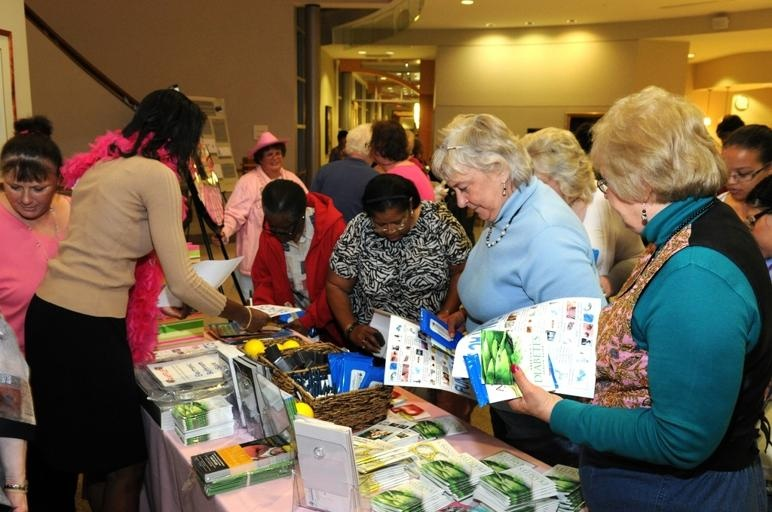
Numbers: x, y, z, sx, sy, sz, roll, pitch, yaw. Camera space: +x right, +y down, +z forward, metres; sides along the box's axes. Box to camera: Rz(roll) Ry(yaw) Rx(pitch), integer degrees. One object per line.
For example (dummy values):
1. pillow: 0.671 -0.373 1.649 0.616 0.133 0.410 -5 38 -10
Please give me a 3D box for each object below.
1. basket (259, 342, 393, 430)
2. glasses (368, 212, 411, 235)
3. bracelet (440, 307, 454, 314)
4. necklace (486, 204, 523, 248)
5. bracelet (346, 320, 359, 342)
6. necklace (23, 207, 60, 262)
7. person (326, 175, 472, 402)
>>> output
1. basket: -0.229 0.492 2.072 0.446 0.208 0.355 -1 2 38
2. glasses: 0.028 -0.156 2.584 0.179 0.106 0.113 -2 2 4
3. bracelet: 0.301 0.268 2.695 0.034 0.030 0.033 1 9 0
4. necklace: 0.437 -0.109 2.068 0.017 0.148 0.123 31 20 -11
5. bracelet: -0.171 0.353 2.635 0.071 0.076 0.049 23 -5 -38
6. necklace: -1.626 -0.096 2.546 0.153 0.191 0.182 10 34 -34
7. person: 0.112 0.211 2.869 0.809 1.364 0.705 -8 31 -3
